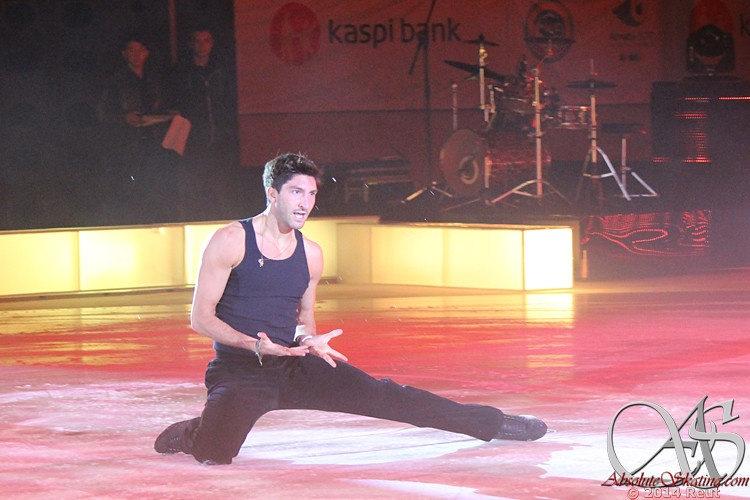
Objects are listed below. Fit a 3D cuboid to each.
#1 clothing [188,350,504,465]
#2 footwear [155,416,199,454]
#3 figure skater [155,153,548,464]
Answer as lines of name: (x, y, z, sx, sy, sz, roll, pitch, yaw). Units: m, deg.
clothing: (-0.195, 0.776, 4.595, 1.162, 0.285, 0.708, 13, -29, -21)
footwear: (-1.126, 0.997, 4.725, 0.182, 0.164, 0.451, 5, -6, 17)
figure skater: (0.007, 0.418, 4.790, 2.638, 1.462, 1.056, 9, 11, -20)
